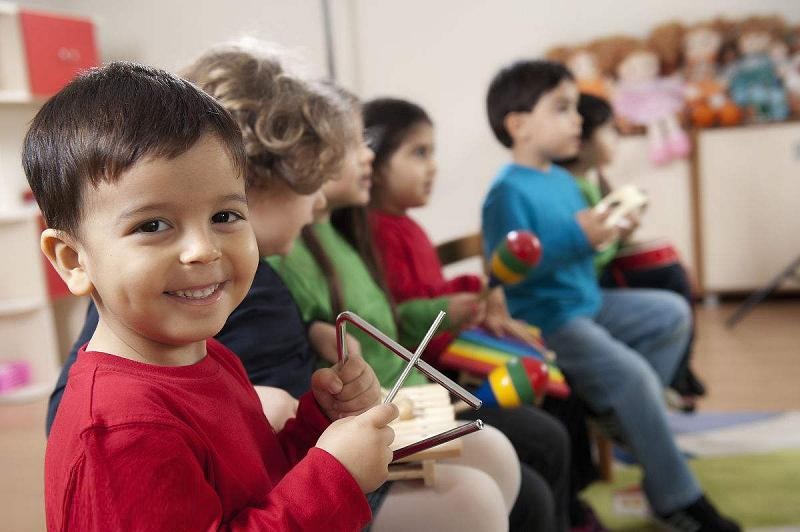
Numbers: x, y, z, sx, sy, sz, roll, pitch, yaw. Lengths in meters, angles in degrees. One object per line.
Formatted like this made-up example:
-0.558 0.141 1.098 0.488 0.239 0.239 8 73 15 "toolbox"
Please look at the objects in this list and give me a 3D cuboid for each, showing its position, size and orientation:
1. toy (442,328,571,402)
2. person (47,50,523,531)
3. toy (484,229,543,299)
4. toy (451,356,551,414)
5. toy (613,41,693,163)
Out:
0.107 0.107 0.734 0.131 0.083 0.031 16 -28 4 "toy"
-0.089 0.017 1.100 0.692 0.756 0.467 -3 2 -14 "person"
0.131 -0.002 0.748 0.083 0.034 0.035 -35 -2 30 "toy"
0.121 0.138 0.781 0.103 0.044 0.043 -22 2 16 "toy"
0.280 -0.174 0.717 0.084 0.118 0.038 -21 -3 25 "toy"
